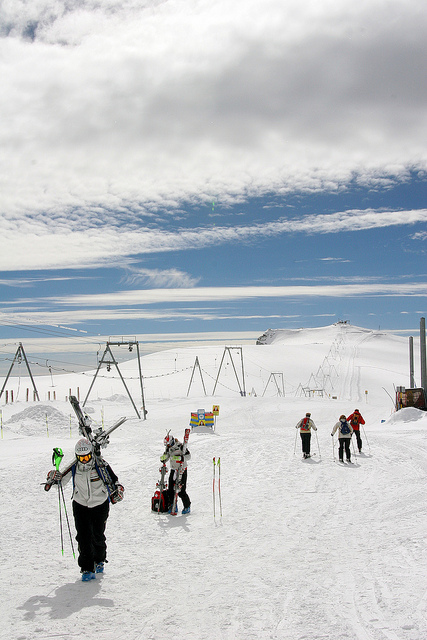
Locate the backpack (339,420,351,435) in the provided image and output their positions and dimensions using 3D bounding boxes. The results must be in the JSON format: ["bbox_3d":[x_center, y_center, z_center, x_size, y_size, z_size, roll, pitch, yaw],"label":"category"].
[{"bbox_3d":[4.399,3.560,19.493,0.271,0.364,0.367,-3,9,15],"label":"backpack"}]

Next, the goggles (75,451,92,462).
[{"bbox_3d":[-2.087,2.195,9.488,0.247,0.150,0.121,-4,4,-7],"label":"goggles"}]

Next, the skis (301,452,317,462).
[{"bbox_3d":[3.460,4.760,20.691,0.207,0.274,0.683,10,17,37],"label":"skis"}]

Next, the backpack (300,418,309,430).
[{"bbox_3d":[3.222,3.589,20.405,0.254,0.332,0.358,3,10,15],"label":"backpack"}]

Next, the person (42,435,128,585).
[{"bbox_3d":[-1.957,3.011,9.425,1.007,2.223,0.827,-5,4,-10],"label":"person"}]

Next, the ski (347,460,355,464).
[{"bbox_3d":[4.534,4.635,19.201,0.168,0.063,0.412,-4,3,-3],"label":"ski"}]

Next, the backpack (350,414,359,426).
[{"bbox_3d":[5.299,3.671,21.798,0.096,0.332,0.355,9,-2,-33],"label":"backpack"}]

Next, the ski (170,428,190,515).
[{"bbox_3d":[-0.715,3.428,13.288,0.233,2.057,0.299,7,-5,-41],"label":"ski"}]

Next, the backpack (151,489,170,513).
[{"bbox_3d":[-1.183,4.105,13.314,0.396,0.534,0.463,-1,-20,7],"label":"backpack"}]
